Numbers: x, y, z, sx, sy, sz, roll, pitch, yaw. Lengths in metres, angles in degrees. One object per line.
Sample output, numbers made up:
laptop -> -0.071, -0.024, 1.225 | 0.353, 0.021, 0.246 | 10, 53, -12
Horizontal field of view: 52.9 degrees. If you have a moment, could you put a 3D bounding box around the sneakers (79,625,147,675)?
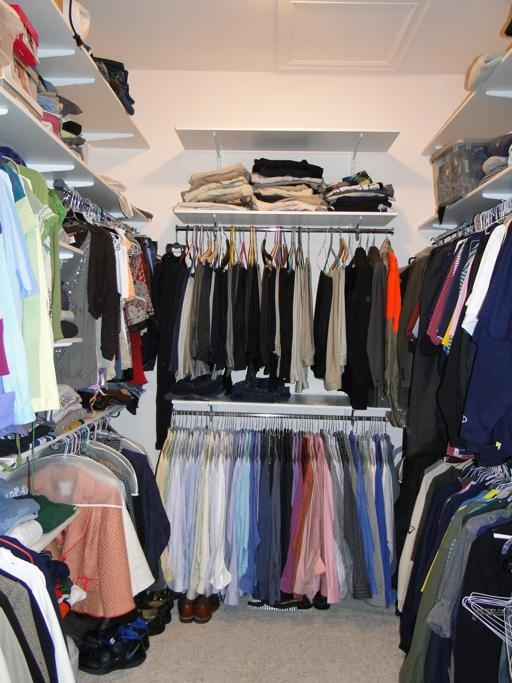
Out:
sneakers -> -0.591, 1.260, 2.106 | 0.257, 0.091, 0.167 | -1, 8, -23

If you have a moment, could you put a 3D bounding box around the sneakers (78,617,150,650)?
sneakers -> -0.571, 1.218, 2.157 | 0.161, 0.090, 0.240 | 1, -4, 20

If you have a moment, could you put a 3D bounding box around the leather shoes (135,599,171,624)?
leather shoes -> -0.466, 1.229, 2.343 | 0.115, 0.042, 0.096 | 9, 28, -9

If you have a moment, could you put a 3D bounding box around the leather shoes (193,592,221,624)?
leather shoes -> -0.236, 1.225, 2.370 | 0.056, 0.085, 0.177 | 0, 2, 3

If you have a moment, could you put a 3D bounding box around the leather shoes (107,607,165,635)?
leather shoes -> -0.513, 1.175, 2.245 | 0.236, 0.088, 0.139 | 8, -7, -3

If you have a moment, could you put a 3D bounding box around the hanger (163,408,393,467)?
hanger -> 0.169, 0.443, 2.808 | 1.273, 0.292, 0.398 | 1, 7, -5
